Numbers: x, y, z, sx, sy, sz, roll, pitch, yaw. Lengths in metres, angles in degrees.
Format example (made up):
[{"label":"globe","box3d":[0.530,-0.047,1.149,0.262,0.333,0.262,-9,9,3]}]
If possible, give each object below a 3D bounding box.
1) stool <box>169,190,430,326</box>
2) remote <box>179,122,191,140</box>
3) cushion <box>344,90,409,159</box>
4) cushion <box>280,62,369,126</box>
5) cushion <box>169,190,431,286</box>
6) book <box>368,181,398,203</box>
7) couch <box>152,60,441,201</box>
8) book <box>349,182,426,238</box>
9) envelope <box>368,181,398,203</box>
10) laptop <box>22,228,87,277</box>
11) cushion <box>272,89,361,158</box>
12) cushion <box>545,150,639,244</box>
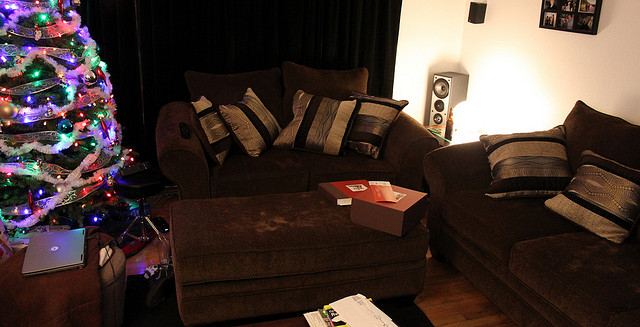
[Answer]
[{"label":"stool","box3d":[-0.420,0.707,4.145,2.507,1.000,1.079,-4,31,-8]},{"label":"remote","box3d":[-1.452,-0.352,4.629,0.116,0.041,0.200,-7,51,-32]},{"label":"cushion","box3d":[0.713,-0.421,5.137,0.773,0.687,0.227,21,-7,29]},{"label":"cushion","box3d":[0.036,-0.807,5.203,0.989,0.678,0.337,0,6,-3]},{"label":"cushion","box3d":[-0.364,0.779,4.390,2.639,0.600,1.151,2,18,-35]},{"label":"book","box3d":[0.594,0.261,4.102,0.216,0.022,0.308,5,33,-8]},{"label":"couch","box3d":[-0.381,-0.389,4.969,2.888,1.164,1.206,-3,25,-8]},{"label":"book","box3d":[0.697,0.352,4.021,0.534,0.237,0.542,14,28,31]},{"label":"envelope","box3d":[0.597,0.261,4.103,0.213,0.022,0.312,4,32,-9]},{"label":"laptop","box3d":[-2.350,0.789,3.819,0.434,0.079,0.408,-1,33,-6]},{"label":"cushion","box3d":[-0.007,-0.465,5.127,0.833,0.729,0.248,20,-2,12]},{"label":"cushion","box3d":[2.651,0.325,4.064,0.675,0.601,0.462,22,33,39]}]
